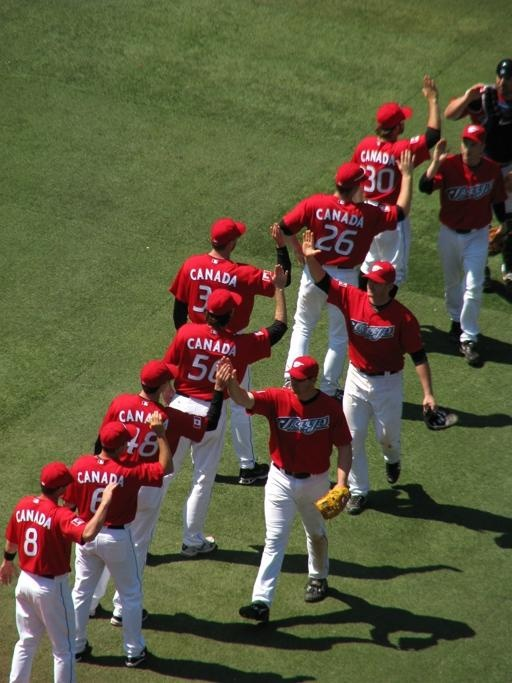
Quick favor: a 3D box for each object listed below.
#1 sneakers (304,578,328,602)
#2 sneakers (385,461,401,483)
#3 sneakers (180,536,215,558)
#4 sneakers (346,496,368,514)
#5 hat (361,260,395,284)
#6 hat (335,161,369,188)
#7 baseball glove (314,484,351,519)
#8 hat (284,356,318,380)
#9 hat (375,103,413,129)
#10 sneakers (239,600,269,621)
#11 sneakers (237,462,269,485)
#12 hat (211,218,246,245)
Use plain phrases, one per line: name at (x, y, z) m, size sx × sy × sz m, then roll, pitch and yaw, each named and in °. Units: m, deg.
sneakers at (0.434, 1.763, 7.996) m, size 0.125 × 0.124 × 0.200 m, roll 3°, pitch 2°, yaw 14°
sneakers at (1.097, 1.022, 8.794) m, size 0.082 × 0.204 × 0.144 m, roll 2°, pitch 27°, yaw 12°
sneakers at (-0.415, 1.520, 8.392) m, size 0.279 × 0.122 × 0.113 m, roll -14°, pitch 37°, yaw -17°
sneakers at (0.782, 1.256, 8.638) m, size 0.090 × 0.089 × 0.211 m, roll 3°, pitch 5°, yaw 18°
hat at (0.928, -0.516, 8.020) m, size 0.216 × 0.109 × 0.146 m, roll 5°, pitch 11°, yaw -42°
hat at (0.786, -1.367, 8.950) m, size 0.184 × 0.139 × 0.236 m, roll 19°, pitch 63°, yaw 29°
baseball glove at (0.541, 1.056, 7.401) m, size 0.245 × 0.106 × 0.179 m, roll -39°, pitch 9°, yaw -8°
hat at (0.323, 0.170, 7.362) m, size 0.192 × 0.105 × 0.129 m, roll -12°, pitch 35°, yaw -41°
hat at (1.197, -1.985, 9.687) m, size 0.246 × 0.210 × 0.169 m, roll -11°, pitch 22°, yaw 0°
sneakers at (-0.007, 1.816, 7.560) m, size 0.229 × 0.073 × 0.147 m, roll 16°, pitch 24°, yaw -16°
sneakers at (-0.007, 1.041, 9.019) m, size 0.289 × 0.126 × 0.125 m, roll -15°, pitch 28°, yaw -31°
hat at (-0.231, -0.871, 8.631) m, size 0.223 × 0.184 × 0.308 m, roll -6°, pitch 21°, yaw 12°
